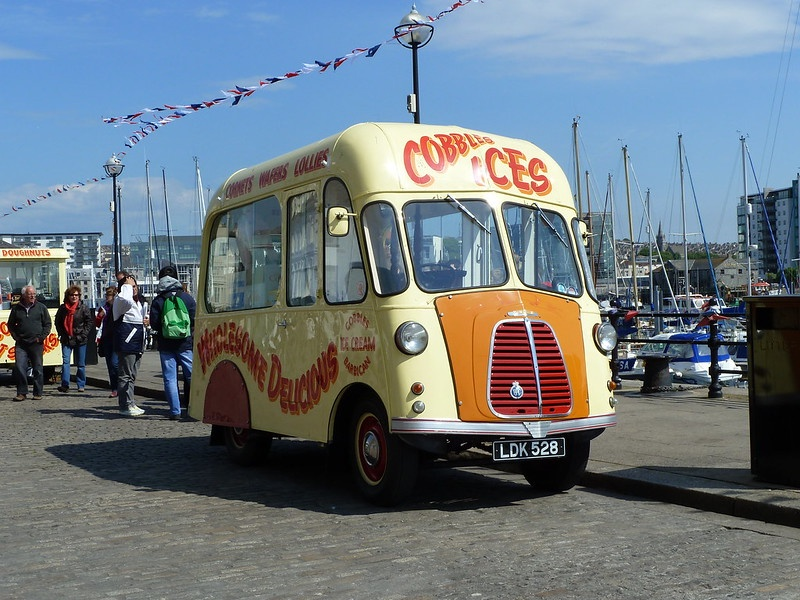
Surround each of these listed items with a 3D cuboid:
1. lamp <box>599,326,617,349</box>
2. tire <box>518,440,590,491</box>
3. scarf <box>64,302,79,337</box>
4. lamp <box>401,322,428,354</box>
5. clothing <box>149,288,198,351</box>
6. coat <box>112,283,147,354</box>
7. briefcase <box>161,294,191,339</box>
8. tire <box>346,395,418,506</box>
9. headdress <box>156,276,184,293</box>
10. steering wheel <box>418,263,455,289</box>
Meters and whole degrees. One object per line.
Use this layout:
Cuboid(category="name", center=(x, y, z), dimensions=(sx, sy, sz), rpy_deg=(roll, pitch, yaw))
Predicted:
Cuboid(category="lamp", center=(2.063, 0.370, 8.361), dimensions=(0.144, 0.165, 0.156), rpy_deg=(-10, 22, 44))
Cuboid(category="tire", center=(1.515, 1.613, 8.221), dimensions=(0.231, 0.666, 0.610), rpy_deg=(5, -2, -28))
Cuboid(category="scarf", center=(-7.272, 0.412, 18.657), dimensions=(0.271, 0.853, 0.415), rpy_deg=(1, -2, -6))
Cuboid(category="lamp", center=(0.123, 0.347, 7.465), dimensions=(0.227, 0.253, 0.092), rpy_deg=(4, -11, -22))
Cuboid(category="clothing", center=(-3.486, 0.286, 13.087), dimensions=(0.928, 1.320, 0.671), rpy_deg=(1, -4, -28))
Cuboid(category="coat", center=(-4.641, 0.324, 14.451), dimensions=(0.440, 1.195, 0.546), rpy_deg=(2, -2, -41))
Cuboid(category="briefcase", center=(-3.490, 0.256, 13.191), dimensions=(0.435, 0.729, 0.264), rpy_deg=(1, -2, -21))
Cuboid(category="tire", center=(-0.138, 1.366, 7.671), dimensions=(0.347, 1.171, 0.966), rpy_deg=(0, 1, -32))
Cuboid(category="headdress", center=(-3.679, -0.246, 13.334), dimensions=(0.279, 0.235, 0.253), rpy_deg=(-2, 3, 43))
Cuboid(category="steering wheel", center=(0.333, -0.220, 7.732), dimensions=(0.248, 0.263, 0.061), rpy_deg=(3, -12, -16))
